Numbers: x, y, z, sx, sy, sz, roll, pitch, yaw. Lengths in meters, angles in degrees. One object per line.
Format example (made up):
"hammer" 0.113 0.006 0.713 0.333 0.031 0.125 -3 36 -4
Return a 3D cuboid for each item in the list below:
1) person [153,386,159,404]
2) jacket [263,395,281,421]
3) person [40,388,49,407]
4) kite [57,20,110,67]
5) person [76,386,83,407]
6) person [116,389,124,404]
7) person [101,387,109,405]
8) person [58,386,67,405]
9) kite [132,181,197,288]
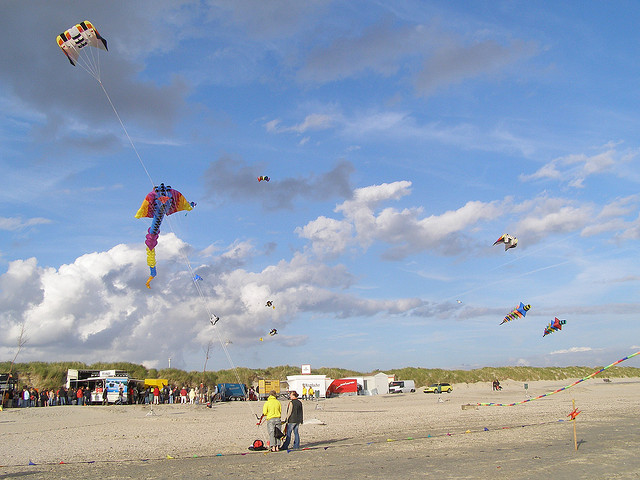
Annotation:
"person" -15.481 14.726 48.751 0.404 1.481 2.820 1 -18 -19
"jacket" -2.028 6.931 21.365 0.698 0.951 0.545 -3 -16 -7
"person" -25.341 14.649 47.723 0.642 1.472 2.258 4 -19 -26
"kite" -10.303 -8.467 22.513 1.952 0.532 2.006 -28 -39 -20
"person" -22.700 14.875 48.948 0.530 1.453 1.533 3 -18 -25
"person" -18.994 14.961 49.201 0.492 1.306 0.614 11 -22 -43
"person" -20.202 14.767 48.723 0.517 1.525 1.320 2 -18 -21
"person" -23.842 14.509 47.923 0.685 1.557 1.855 3 -18 -24
"kite" -7.722 -0.328 24.873 2.857 4.048 2.084 -16 -20 33
